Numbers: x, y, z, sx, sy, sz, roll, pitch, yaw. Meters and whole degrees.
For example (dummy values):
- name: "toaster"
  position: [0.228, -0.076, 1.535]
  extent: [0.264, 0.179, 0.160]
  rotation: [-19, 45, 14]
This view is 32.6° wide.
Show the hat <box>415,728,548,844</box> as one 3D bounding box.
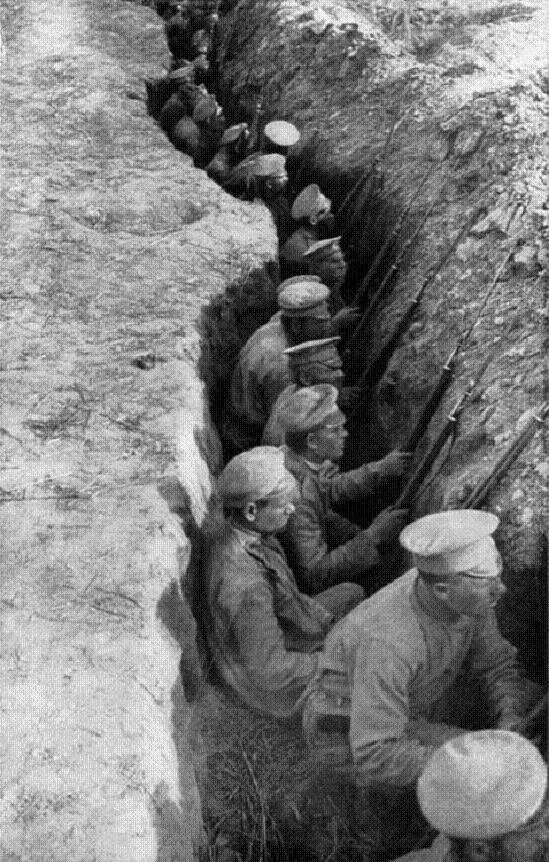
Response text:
- name: "hat"
  position: [0.717, 1.225, 3.269]
  extent: [0.368, 0.333, 0.327]
  rotation: [30, 33, 18]

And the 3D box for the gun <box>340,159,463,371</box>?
- name: "gun"
  position: [1.022, -1.303, 7.376]
  extent: [0.093, 0.157, 2.357]
  rotation: [34, 63, -30]

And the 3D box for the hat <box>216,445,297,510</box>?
- name: "hat"
  position: [-0.094, 0.273, 4.546]
  extent: [0.137, 0.346, 0.257]
  rotation: [45, 28, -31]

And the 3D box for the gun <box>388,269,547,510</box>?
- name: "gun"
  position: [1.157, -0.223, 5.529]
  extent: [0.066, 1.714, 0.220]
  rotation: [26, 13, 23]

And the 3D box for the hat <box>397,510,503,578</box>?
- name: "hat"
  position: [0.704, 0.433, 3.716]
  extent: [0.295, 0.135, 0.274]
  rotation: [-7, 13, 15]

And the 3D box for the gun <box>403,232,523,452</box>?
- name: "gun"
  position: [1.201, -0.535, 5.906]
  extent: [0.080, 1.669, 0.215]
  rotation: [31, -7, -34]
